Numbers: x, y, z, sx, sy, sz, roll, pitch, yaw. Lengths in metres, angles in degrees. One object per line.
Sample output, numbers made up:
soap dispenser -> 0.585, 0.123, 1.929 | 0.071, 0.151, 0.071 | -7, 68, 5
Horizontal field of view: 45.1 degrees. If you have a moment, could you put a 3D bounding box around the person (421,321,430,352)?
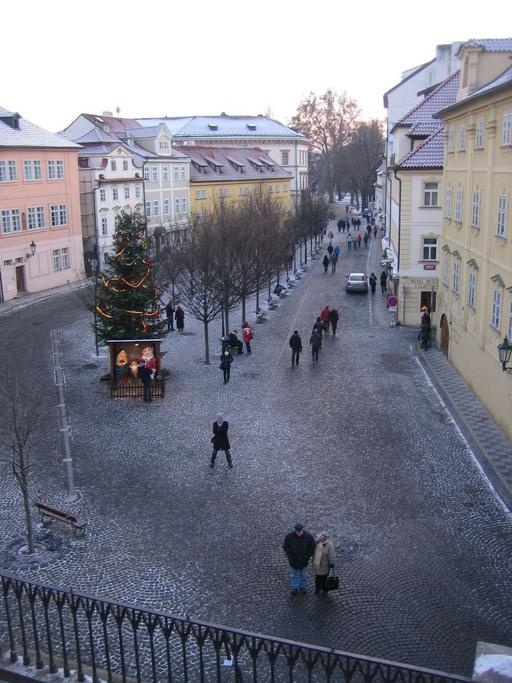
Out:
person -> 7.261, -0.255, 26.953 | 0.380, 1.157, 0.942 | 1, 8, 14

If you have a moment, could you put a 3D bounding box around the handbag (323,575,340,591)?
handbag -> 1.075, 3.555, 9.027 | 0.242, 0.298, 0.218 | 1, -5, -3

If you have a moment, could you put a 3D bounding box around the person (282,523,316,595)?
person -> 0.651, 3.205, 9.347 | 0.459, 1.217, 0.737 | 0, 8, 4

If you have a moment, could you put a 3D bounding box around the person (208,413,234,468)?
person -> -0.855, 2.234, 14.952 | 0.552, 1.469, 1.944 | -1, 9, -4

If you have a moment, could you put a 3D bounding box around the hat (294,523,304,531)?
hat -> 0.613, 2.744, 9.051 | 0.139, 0.094, 0.214 | -1, 5, 3

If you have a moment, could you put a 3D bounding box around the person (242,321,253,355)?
person -> -0.392, -0.106, 26.515 | 0.367, 1.247, 1.012 | -1, 8, -2

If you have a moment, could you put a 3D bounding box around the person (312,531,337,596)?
person -> 0.981, 3.277, 9.175 | 0.309, 1.045, 0.361 | 0, 7, 8

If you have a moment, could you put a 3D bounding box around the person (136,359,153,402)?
person -> -3.604, 1.329, 20.406 | 0.433, 1.187, 0.966 | -3, 8, -15

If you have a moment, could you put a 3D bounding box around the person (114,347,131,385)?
person -> -4.458, 0.838, 20.822 | 0.469, 1.098, 0.373 | -3, 8, -16

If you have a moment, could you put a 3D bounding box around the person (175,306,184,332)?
person -> -3.825, -1.141, 31.198 | 0.398, 1.358, 1.898 | -2, 9, -8

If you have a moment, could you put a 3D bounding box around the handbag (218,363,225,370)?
handbag -> -1.197, 0.855, 21.943 | 0.121, 0.313, 0.332 | -3, 9, -15

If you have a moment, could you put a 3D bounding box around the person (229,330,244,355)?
person -> -0.848, 0.055, 26.353 | 0.593, 1.189, 0.443 | -19, 30, -31

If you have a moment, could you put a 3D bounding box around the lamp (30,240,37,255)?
lamp -> -14.236, -6.081, 40.017 | 0.420, 0.911, 1.396 | -3, 9, -20

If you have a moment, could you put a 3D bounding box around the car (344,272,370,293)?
car -> 6.770, -3.942, 42.168 | 1.363, 1.341, 1.495 | 2, 9, 17

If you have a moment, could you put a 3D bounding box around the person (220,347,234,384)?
person -> -1.097, 0.772, 22.283 | 0.381, 1.283, 1.326 | -1, 8, -2
